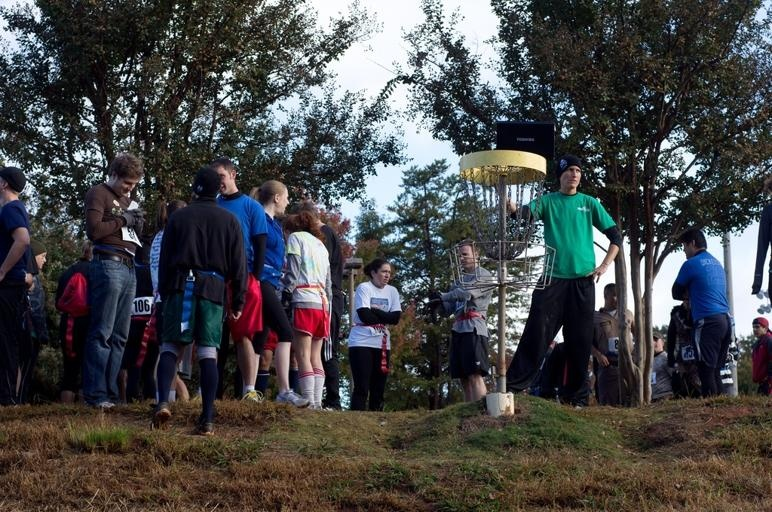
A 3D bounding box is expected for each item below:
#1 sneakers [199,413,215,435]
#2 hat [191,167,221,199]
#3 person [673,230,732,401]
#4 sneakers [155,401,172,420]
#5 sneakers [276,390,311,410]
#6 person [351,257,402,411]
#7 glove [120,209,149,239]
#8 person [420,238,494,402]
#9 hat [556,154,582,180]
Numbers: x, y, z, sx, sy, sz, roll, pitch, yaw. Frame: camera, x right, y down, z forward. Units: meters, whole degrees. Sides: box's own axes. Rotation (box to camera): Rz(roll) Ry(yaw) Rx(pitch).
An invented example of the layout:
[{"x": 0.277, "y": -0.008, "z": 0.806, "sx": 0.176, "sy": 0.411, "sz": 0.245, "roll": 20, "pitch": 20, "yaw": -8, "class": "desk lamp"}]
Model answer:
[{"x": -2.641, "y": 2.461, "z": 14.957, "sx": 0.189, "sy": 0.214, "sz": 0.548, "roll": 2, "pitch": -11, "yaw": -5, "class": "sneakers"}, {"x": -2.650, "y": -1.038, "z": 15.081, "sx": 0.309, "sy": 0.480, "sz": 0.376, "roll": 2, "pitch": -48, "yaw": -14, "class": "hat"}, {"x": 5.383, "y": 1.125, "z": 17.454, "sx": 0.829, "sy": 3.119, "sz": 0.855, "roll": -8, "pitch": 5, "yaw": -42, "class": "person"}, {"x": -3.247, "y": 2.233, "z": 14.800, "sx": 0.129, "sy": 0.162, "sz": 0.330, "roll": 4, "pitch": -33, "yaw": -10, "class": "sneakers"}, {"x": -1.499, "y": 2.279, "z": 16.387, "sx": 0.598, "sy": 0.299, "sz": 0.231, "roll": 10, "pitch": -3, "yaw": 0, "class": "sneakers"}, {"x": -0.251, "y": 1.511, "z": 17.887, "sx": 0.781, "sy": 2.779, "sz": 1.064, "roll": 10, "pitch": 16, "yaw": 33, "class": "person"}, {"x": -4.028, "y": -0.498, "z": 16.084, "sx": 0.139, "sy": 0.457, "sz": 0.312, "roll": 5, "pitch": -1, "yaw": 29, "class": "glove"}, {"x": 1.292, "y": 1.021, "z": 16.961, "sx": 0.925, "sy": 2.944, "sz": 1.534, "roll": 2, "pitch": 13, "yaw": 5, "class": "person"}, {"x": 2.987, "y": -1.454, "z": 16.585, "sx": 0.279, "sy": 0.335, "sz": 0.395, "roll": 0, "pitch": 6, "yaw": -16, "class": "hat"}]
